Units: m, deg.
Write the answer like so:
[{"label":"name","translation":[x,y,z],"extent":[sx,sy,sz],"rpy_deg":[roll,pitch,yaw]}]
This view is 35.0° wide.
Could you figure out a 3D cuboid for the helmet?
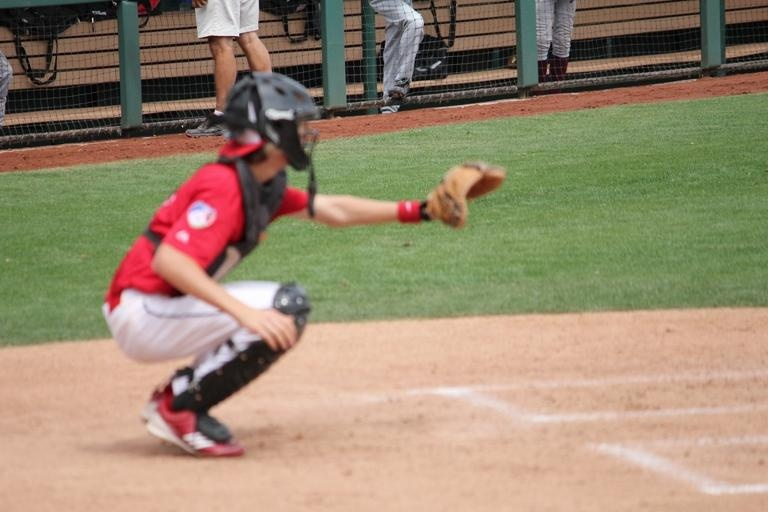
[{"label":"helmet","translation":[-0.626,-0.793,6.339],"extent":[0.581,0.383,0.431],"rpy_deg":[-1,16,-27]}]
